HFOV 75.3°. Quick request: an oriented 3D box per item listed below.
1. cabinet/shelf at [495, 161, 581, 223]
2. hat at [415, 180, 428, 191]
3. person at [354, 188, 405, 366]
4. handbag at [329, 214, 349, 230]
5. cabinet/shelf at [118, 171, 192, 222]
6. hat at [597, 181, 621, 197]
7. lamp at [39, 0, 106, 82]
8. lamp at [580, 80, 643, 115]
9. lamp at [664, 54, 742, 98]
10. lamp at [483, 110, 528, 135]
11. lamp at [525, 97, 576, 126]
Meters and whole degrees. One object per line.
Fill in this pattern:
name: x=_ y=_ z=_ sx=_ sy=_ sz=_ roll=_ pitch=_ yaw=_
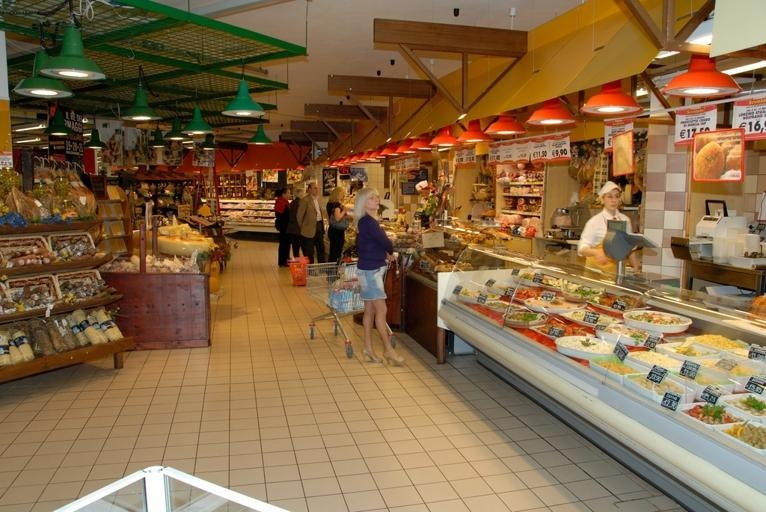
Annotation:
cabinet/shelf: x=3.044 y=-1.260 z=9.574 sx=0.598 sy=1.216 sz=1.502 roll=2 pitch=-2 yaw=-15
hat: x=0.843 y=-1.509 z=10.580 sx=0.299 sy=0.119 sz=0.349 roll=-17 pitch=14 yaw=2
person: x=-0.065 y=0.240 z=6.403 sx=0.554 sy=2.184 sz=0.929 roll=-1 pitch=12 yaw=-3
handbag: x=-0.983 y=-0.766 z=11.320 sx=0.591 sy=0.272 sz=0.398 roll=-3 pitch=-3 yaw=11
cabinet/shelf: x=-6.178 y=-1.620 z=13.411 sx=0.733 sy=1.753 sz=2.209 roll=13 pitch=13 yaw=38
hat: x=2.636 y=-0.769 z=5.842 sx=0.225 sy=0.117 sz=0.296 roll=-11 pitch=2 yaw=-1
lamp: x=-3.182 y=-2.237 z=5.010 sx=0.527 sy=0.855 sz=0.975 roll=-7 pitch=14 yaw=-29
lamp: x=2.228 y=-1.559 z=4.820 sx=0.523 sy=0.273 sz=0.452 roll=0 pitch=11 yaw=-1
lamp: x=2.618 y=-1.420 z=4.149 sx=0.510 sy=0.420 sz=0.473 roll=-1 pitch=3 yaw=-2
lamp: x=1.623 y=-1.739 z=6.658 sx=0.426 sy=0.166 sz=0.383 roll=0 pitch=2 yaw=9
lamp: x=1.879 y=-1.646 z=5.588 sx=0.456 sy=0.269 sz=0.416 roll=-2 pitch=11 yaw=-10
